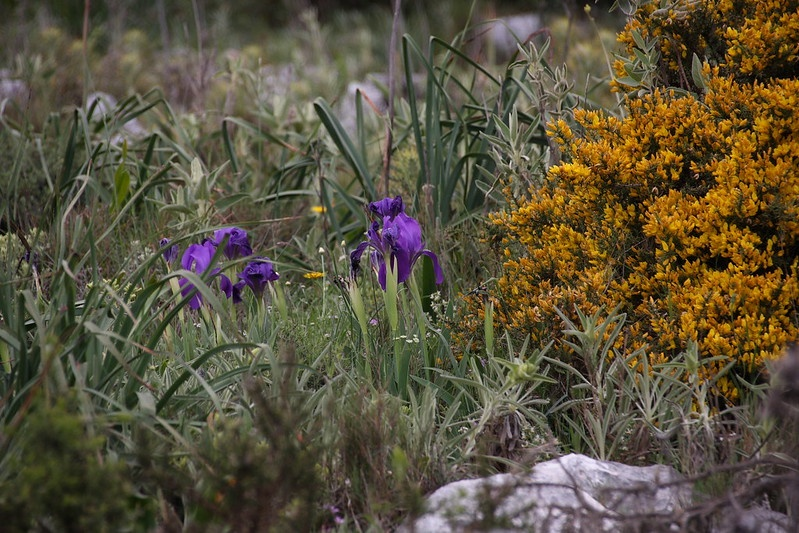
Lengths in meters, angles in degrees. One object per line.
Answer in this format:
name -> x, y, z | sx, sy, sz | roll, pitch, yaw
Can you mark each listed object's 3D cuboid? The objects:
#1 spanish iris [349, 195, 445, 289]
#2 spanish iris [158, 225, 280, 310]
spanish iris -> 0.007, -0.131, 5.375 | 0.302, 0.435, 0.414 | -9, 9, -10
spanish iris -> -0.802, -0.045, 5.422 | 0.413, 0.238, 0.429 | -28, 64, -39
